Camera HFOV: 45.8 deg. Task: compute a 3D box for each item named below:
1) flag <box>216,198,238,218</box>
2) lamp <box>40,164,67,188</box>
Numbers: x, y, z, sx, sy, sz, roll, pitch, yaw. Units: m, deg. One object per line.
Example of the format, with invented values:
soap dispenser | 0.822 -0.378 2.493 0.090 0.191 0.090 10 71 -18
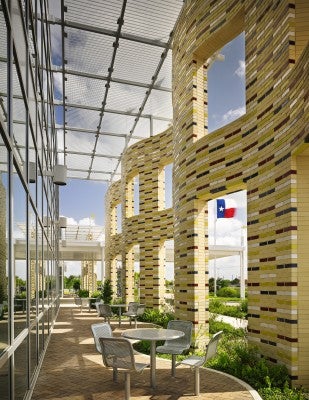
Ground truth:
flag | 4.963 0.618 25.361 1.754 2.453 0.347 6 -54 9
lamp | -1.955 -0.540 7.207 0.385 0.430 0.764 3 -12 -8
